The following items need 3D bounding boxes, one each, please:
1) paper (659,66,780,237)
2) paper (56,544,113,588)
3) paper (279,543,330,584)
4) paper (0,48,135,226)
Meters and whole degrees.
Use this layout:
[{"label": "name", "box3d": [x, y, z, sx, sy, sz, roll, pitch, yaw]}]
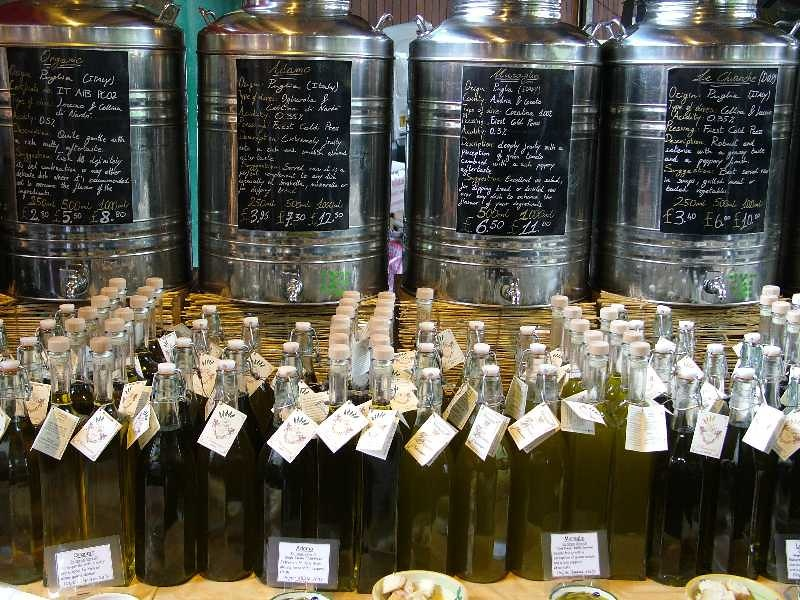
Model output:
[{"label": "paper", "box3d": [0.962, -0.474, 2.228, 0.510, 0.684, 0.032, -1, 7, -7]}, {"label": "paper", "box3d": [-0.672, 0.562, 1.547, 0.091, 0.065, 0.014, -8, 2, -6]}, {"label": "paper", "box3d": [-0.200, 0.561, 1.552, 0.087, 0.068, 0.010, 0, -4, 2]}, {"label": "paper", "box3d": [-0.990, -0.507, 2.178, 0.510, 0.682, 0.049, 2, 12, -2]}]
